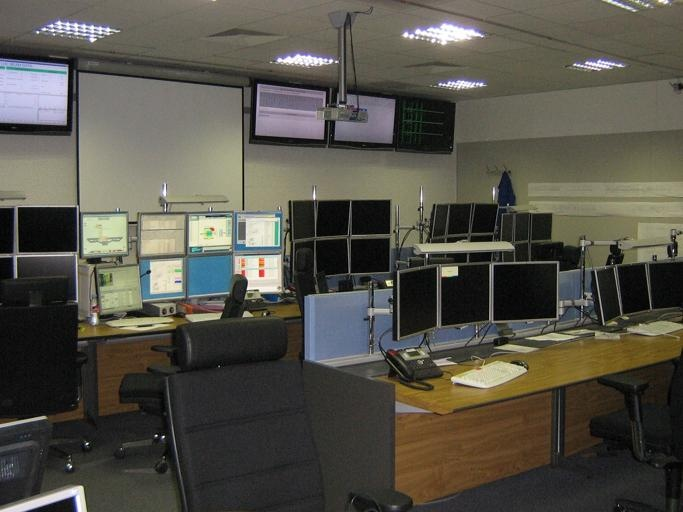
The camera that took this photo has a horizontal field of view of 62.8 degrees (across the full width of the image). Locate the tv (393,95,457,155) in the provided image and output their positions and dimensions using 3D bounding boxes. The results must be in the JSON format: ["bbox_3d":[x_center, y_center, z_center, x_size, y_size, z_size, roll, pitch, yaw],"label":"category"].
[{"bbox_3d":[1.405,-2.092,8.980,0.143,0.895,1.326,-11,22,-31],"label":"tv"}]

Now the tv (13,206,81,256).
[{"bbox_3d":[-2.452,-0.218,4.761,0.523,0.406,0.172,-1,-2,2],"label":"tv"}]

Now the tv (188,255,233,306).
[{"bbox_3d":[-1.215,0.233,5.126,0.491,0.371,0.054,-5,7,-38],"label":"tv"}]

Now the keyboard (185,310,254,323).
[{"bbox_3d":[-0.859,0.418,3.848,0.289,0.069,0.311,-1,1,-2],"label":"keyboard"}]

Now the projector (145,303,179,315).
[{"bbox_3d":[-1.614,0.466,4.923,0.186,0.057,0.138,1,1,39],"label":"projector"}]

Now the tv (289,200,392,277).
[{"bbox_3d":[-0.037,-0.201,5.814,0.920,0.572,0.058,-2,2,-32],"label":"tv"}]

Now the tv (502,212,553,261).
[{"bbox_3d":[2.213,-0.222,6.713,0.667,0.557,0.205,0,1,-39],"label":"tv"}]

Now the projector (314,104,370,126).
[{"bbox_3d":[-0.064,-1.320,5.305,0.354,0.127,0.374,3,4,29],"label":"projector"}]

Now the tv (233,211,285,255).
[{"bbox_3d":[-0.825,-0.222,5.487,0.469,0.355,0.059,1,-3,-20],"label":"tv"}]

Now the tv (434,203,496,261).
[{"bbox_3d":[1.270,-0.260,5.856,0.743,0.573,0.073,-3,5,-34],"label":"tv"}]

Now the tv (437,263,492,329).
[{"bbox_3d":[0.800,0.258,3.581,0.435,0.385,0.027,-2,6,-31],"label":"tv"}]

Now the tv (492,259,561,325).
[{"bbox_3d":[1.220,0.242,3.749,0.610,0.403,0.045,0,-1,-28],"label":"tv"}]

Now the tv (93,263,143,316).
[{"bbox_3d":[-1.894,0.283,4.704,0.489,0.458,0.054,-2,1,-40],"label":"tv"}]

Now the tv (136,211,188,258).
[{"bbox_3d":[-1.601,-0.182,4.974,0.449,0.381,0.046,2,-5,-33],"label":"tv"}]

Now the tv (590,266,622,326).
[{"bbox_3d":[1.980,0.293,4.173,0.065,0.420,0.493,-8,-2,34],"label":"tv"}]

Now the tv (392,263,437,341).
[{"bbox_3d":[0.435,0.280,3.311,0.072,0.426,0.540,0,0,36],"label":"tv"}]

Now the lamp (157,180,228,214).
[{"bbox_3d":[-1.752,-0.693,6.472,0.599,0.366,0.394,-3,15,-31],"label":"lamp"}]

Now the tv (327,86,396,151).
[{"bbox_3d":[0.381,-2.020,8.436,1.247,0.831,0.141,15,21,37],"label":"tv"}]

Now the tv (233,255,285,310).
[{"bbox_3d":[-0.853,0.154,5.615,0.513,0.395,0.451,3,12,-12],"label":"tv"}]

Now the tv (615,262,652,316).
[{"bbox_3d":[2.265,0.260,4.352,0.448,0.410,0.031,-3,-2,-44],"label":"tv"}]

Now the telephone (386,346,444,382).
[{"bbox_3d":[0.399,0.596,3.120,0.276,0.108,0.314,17,16,38],"label":"telephone"}]

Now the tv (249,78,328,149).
[{"bbox_3d":[-0.648,-1.940,7.631,1.307,0.851,0.144,14,17,30],"label":"tv"}]
